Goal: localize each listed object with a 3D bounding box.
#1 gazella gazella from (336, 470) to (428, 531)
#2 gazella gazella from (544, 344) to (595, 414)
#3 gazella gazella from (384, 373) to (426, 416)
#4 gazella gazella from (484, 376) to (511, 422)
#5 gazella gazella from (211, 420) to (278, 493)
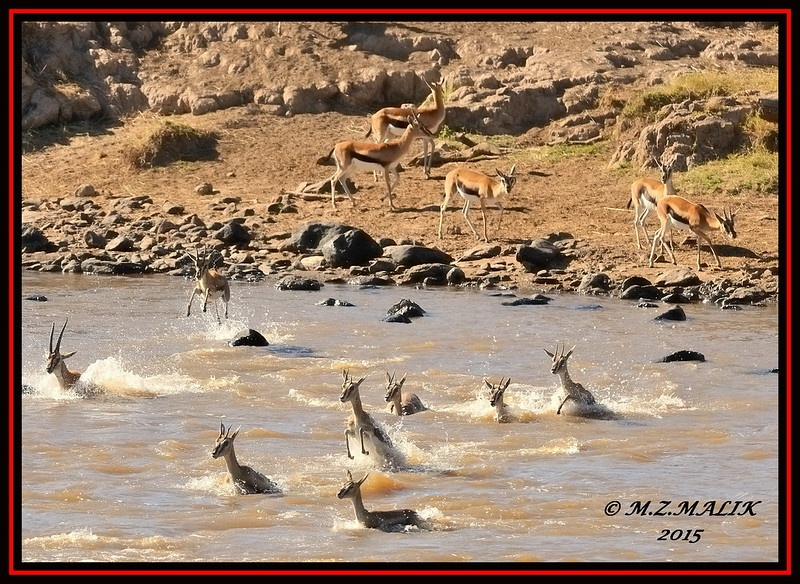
[{"bbox_3d":[-0.283,3.213,22.177,1.238,1.089,0.452,2,-5,-16],"label":"gazella gazella"},{"bbox_3d":[2.772,1.510,25.646,0.528,0.895,0.889,-2,-1,39],"label":"gazella gazella"},{"bbox_3d":[0.043,1.848,25.566,0.415,0.967,1.259,-1,-6,25],"label":"gazella gazella"},{"bbox_3d":[1.541,1.646,25.368,0.310,0.643,0.812,6,18,3],"label":"gazella gazella"},{"bbox_3d":[-2.301,2.738,22.954,0.396,1.234,1.230,-15,-28,30],"label":"gazella gazella"}]
